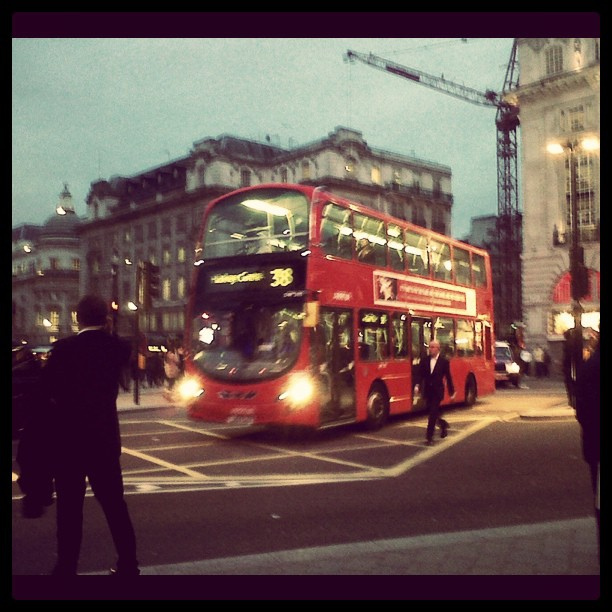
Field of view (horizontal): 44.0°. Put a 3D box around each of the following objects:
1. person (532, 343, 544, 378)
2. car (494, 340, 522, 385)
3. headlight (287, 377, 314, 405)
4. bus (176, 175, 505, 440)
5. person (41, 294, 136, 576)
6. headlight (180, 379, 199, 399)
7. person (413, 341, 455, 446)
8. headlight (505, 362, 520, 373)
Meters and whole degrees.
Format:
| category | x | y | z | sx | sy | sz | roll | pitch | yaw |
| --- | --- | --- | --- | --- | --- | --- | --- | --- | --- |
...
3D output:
| category | x | y | z | sx | sy | sz | roll | pitch | yaw |
| --- | --- | --- | --- | --- | --- | --- | --- | --- | --- |
| person | 10.359 | 2.493 | 34.050 | 0.460 | 1.480 | 2.028 | 0 | -4 | 17 |
| car | 7.205 | 2.025 | 27.520 | 1.068 | 1.236 | 2.592 | -4 | -8 | 16 |
| headlight | -0.086 | 1.273 | 11.388 | 0.398 | 0.397 | 0.124 | 3 | -4 | -31 |
| bus | 1.302 | 0.202 | 15.232 | 2.418 | 4.188 | 8.418 | -4 | -6 | 32 |
| person | -1.510 | 0.899 | 5.294 | 0.649 | 1.948 | 0.309 | 2 | -3 | -23 |
| headlight | -1.872 | 1.346 | 12.164 | 0.293 | 0.075 | 0.287 | -32 | 15 | -29 |
| person | 1.994 | 1.385 | 11.928 | 0.585 | 1.629 | 1.646 | 0 | -4 | 9 |
| headlight | 7.376 | 2.238 | 27.284 | 0.354 | 0.370 | 0.660 | -3 | -5 | 40 |
